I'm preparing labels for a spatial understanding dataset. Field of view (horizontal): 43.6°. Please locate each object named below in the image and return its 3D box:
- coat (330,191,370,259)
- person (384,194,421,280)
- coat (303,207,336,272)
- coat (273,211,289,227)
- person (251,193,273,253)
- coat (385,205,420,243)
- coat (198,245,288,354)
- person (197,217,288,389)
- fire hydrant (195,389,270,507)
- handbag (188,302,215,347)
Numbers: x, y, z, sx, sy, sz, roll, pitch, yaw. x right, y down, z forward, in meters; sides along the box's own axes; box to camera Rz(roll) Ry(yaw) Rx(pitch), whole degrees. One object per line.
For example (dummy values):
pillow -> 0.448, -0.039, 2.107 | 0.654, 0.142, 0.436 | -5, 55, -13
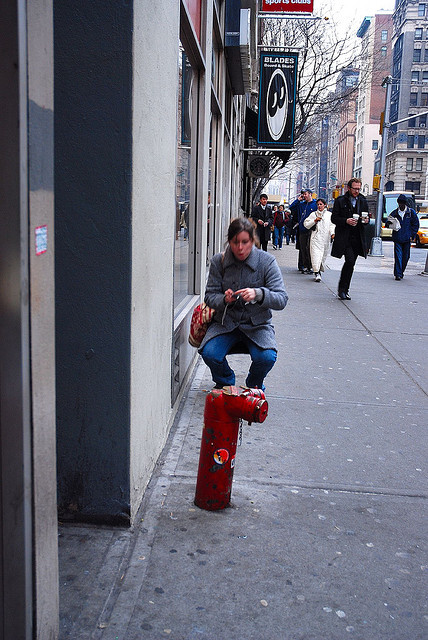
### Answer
coat -> 2.766, -1.871, 10.699 | 0.516, 1.397, 0.742 | 3, 9, 15
person -> 5.467, -2.390, 15.524 | 0.865, 2.407, 1.188 | 4, 5, 22
coat -> 2.708, -2.069, 13.806 | 0.719, 1.683, 1.122 | 3, 5, 10
coat -> 3.751, -5.564, 29.602 | 0.750, 0.978, 2.938 | 4, 7, 8
person -> 1.546, -2.922, 16.877 | 0.531, 1.984, 0.615 | 1, 23, 4
coat -> 5.462, -2.723, 15.263 | 0.677, 1.083, 0.717 | 5, 5, 19
coat -> 0.214, -0.104, 4.014 | 0.544, 1.043, 0.510 | 4, -6, 11
person -> 0.218, -0.085, 4.014 | 0.588, 1.317, 0.671 | 1, 5, -23
fire hydrant -> 0.071, 0.540, 2.925 | 0.417, 0.982, 0.420 | 1, 11, 2
handbag -> -0.113, 0.038, 4.177 | 0.095, 0.330, 0.215 | 20, -4, -30
